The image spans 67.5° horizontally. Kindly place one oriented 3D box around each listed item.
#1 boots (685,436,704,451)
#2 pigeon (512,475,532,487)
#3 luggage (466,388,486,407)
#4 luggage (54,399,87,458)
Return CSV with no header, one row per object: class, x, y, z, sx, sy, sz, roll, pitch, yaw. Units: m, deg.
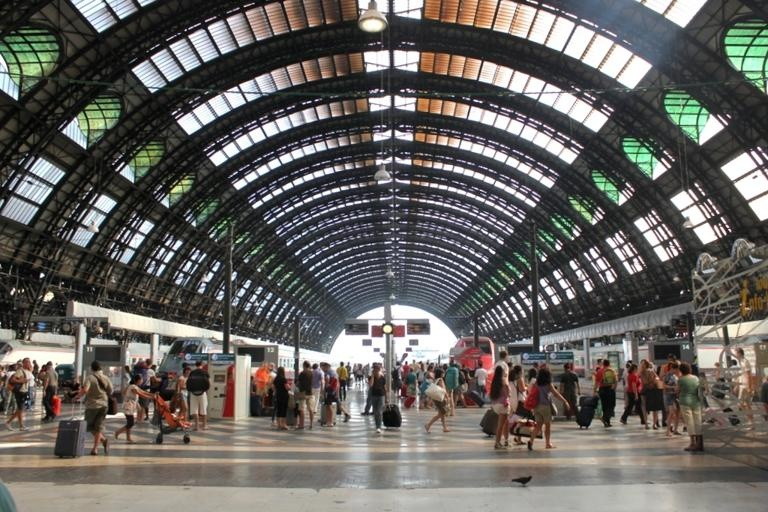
boots,9.139,5.533,16.948,0.477,0.461,0.306,-7,-20,18
pigeon,3.240,5.310,13.556,0.438,0.218,0.770,-3,-19,8
luggage,5.214,7.963,32.762,1.011,0.914,0.264,33,-63,-27
luggage,-8.985,5.237,16.538,0.739,1.080,0.550,10,-21,-26
